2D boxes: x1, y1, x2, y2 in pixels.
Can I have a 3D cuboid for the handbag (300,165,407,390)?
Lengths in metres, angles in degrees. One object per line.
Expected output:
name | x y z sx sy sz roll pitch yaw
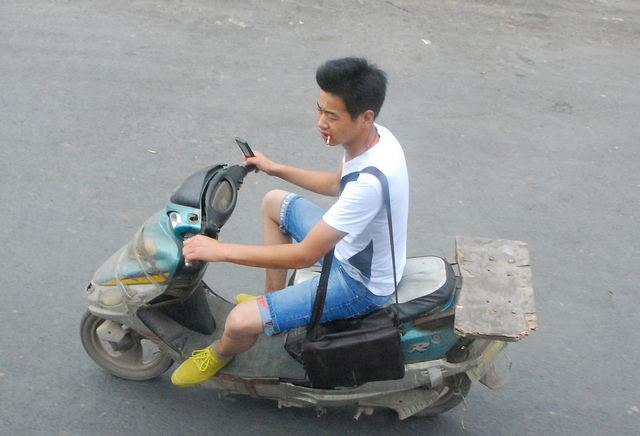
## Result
handbag | 0.299 0.711 6.143 0.895 1.457 0.948 1 47 -8
